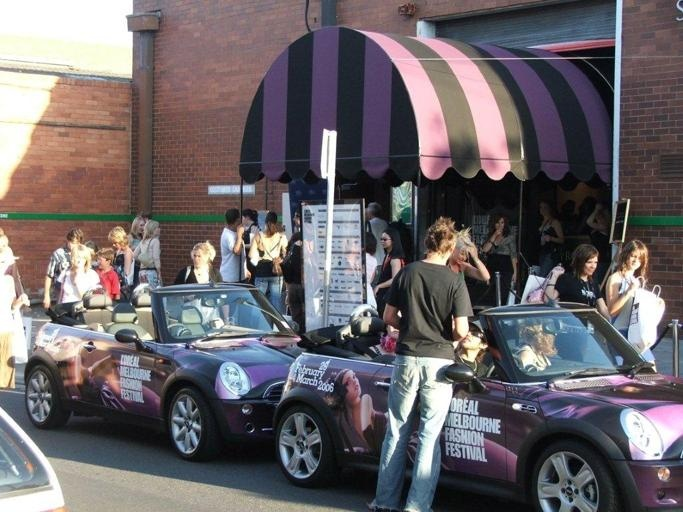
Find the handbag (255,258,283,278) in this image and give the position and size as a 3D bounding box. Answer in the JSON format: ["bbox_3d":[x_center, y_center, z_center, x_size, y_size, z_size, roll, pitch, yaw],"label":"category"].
[{"bbox_3d":[-1.361,0.241,12.916,0.514,0.453,0.315,0,-3,-5],"label":"handbag"}]

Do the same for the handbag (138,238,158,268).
[{"bbox_3d":[-3.683,-0.064,13.357,0.387,0.476,0.241,6,21,15],"label":"handbag"}]

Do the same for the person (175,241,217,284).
[{"bbox_3d":[-2.035,0.147,10.148,0.660,0.802,0.383,4,8,-7],"label":"person"}]

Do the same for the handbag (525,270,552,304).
[{"bbox_3d":[2.473,0.389,8.761,0.108,0.327,0.232,18,4,-8],"label":"handbag"}]

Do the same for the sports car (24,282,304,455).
[{"bbox_3d":[-1.893,1.302,8.109,2.639,1.433,1.733,0,-4,40],"label":"sports car"}]

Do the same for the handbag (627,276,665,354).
[{"bbox_3d":[3.429,0.705,7.864,0.579,0.179,0.280,44,-23,-1],"label":"handbag"}]
